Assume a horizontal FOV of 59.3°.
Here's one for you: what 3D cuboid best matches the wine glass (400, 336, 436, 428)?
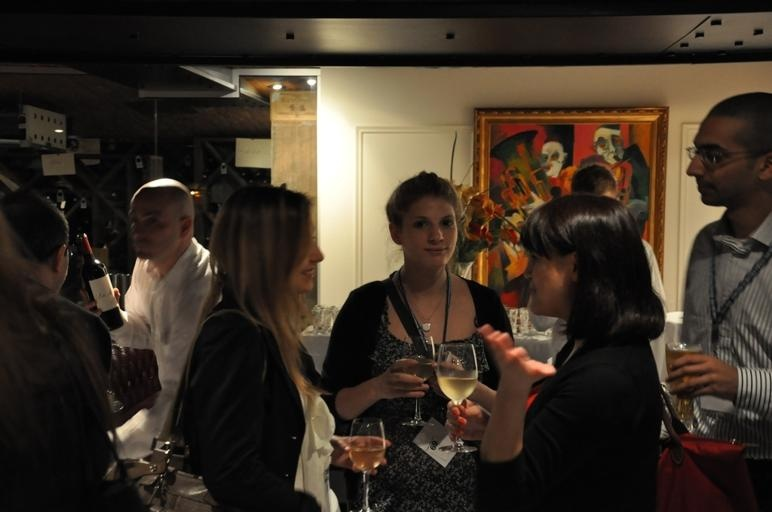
[{"bbox_3d":[0.153,0.561,2.907,0.151,0.392,0.153,-3,8,-26],"label":"wine glass"}]

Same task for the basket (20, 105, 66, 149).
[{"bbox_3d":[-2.056,-0.773,4.133,0.167,0.238,0.570,-1,8,-15],"label":"basket"}]
